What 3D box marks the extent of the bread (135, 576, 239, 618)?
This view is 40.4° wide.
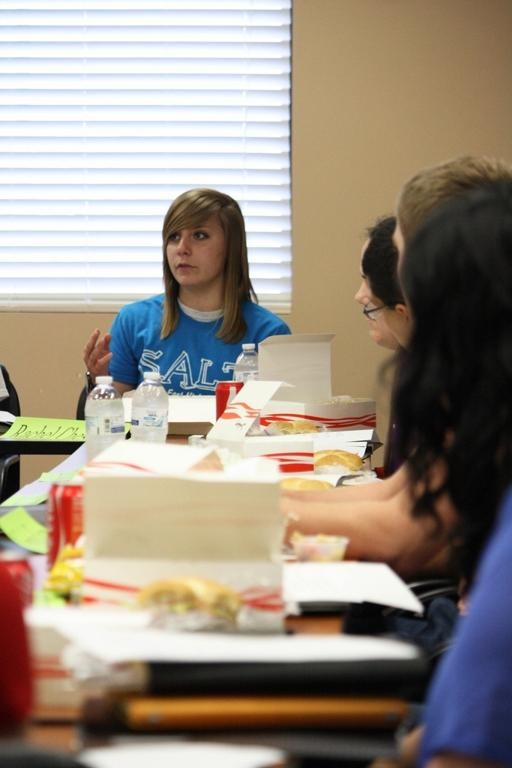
[{"bbox_3d":[-0.050,0.169,0.552,0.055,0.016,0.039,2,2,-15],"label":"bread"}]
